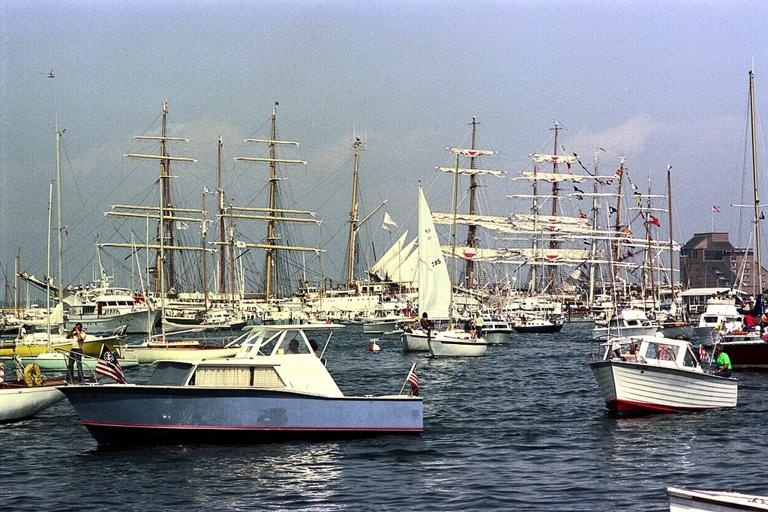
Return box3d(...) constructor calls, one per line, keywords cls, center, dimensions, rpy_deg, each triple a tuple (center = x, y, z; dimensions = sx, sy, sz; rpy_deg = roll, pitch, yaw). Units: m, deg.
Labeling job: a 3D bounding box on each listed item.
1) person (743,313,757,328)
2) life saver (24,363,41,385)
box3d(cls="person", center=(25.875, 4.576, 89.671), dimensions=(0.936, 1.231, 0.688), rpy_deg=(2, 4, 20))
box3d(cls="life saver", center=(-18.809, 6.377, 68.097), dimensions=(0.305, 1.119, 1.055), rpy_deg=(-8, -6, 38))
